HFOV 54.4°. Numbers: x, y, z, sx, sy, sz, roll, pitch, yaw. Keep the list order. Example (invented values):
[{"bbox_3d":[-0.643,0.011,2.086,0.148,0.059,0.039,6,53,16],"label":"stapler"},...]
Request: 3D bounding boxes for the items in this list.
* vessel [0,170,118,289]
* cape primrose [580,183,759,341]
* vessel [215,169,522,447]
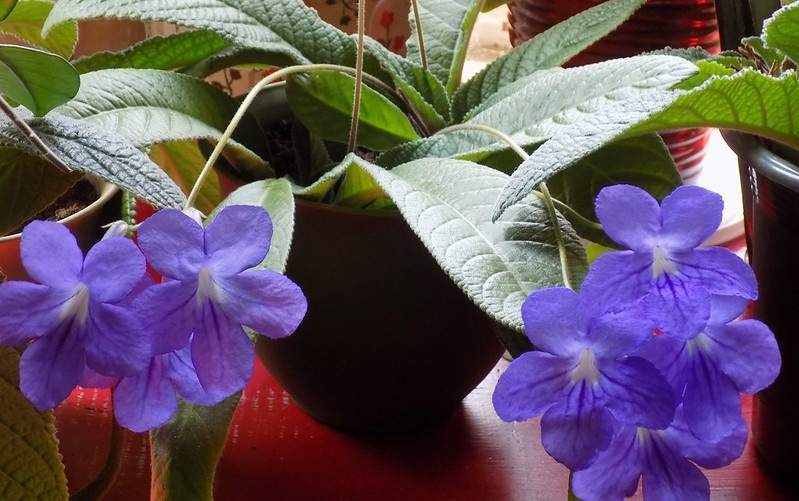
[{"bbox_3d":[-0.277,-0.021,0.640,0.091,0.036,0.086,0,33,2],"label":"vessel"},{"bbox_3d":[0.158,0.005,0.453,0.103,0.077,0.055,1,29,6],"label":"cape primrose"},{"bbox_3d":[-0.014,0.048,0.613,0.203,0.143,0.196,1,16,-8],"label":"vessel"}]
